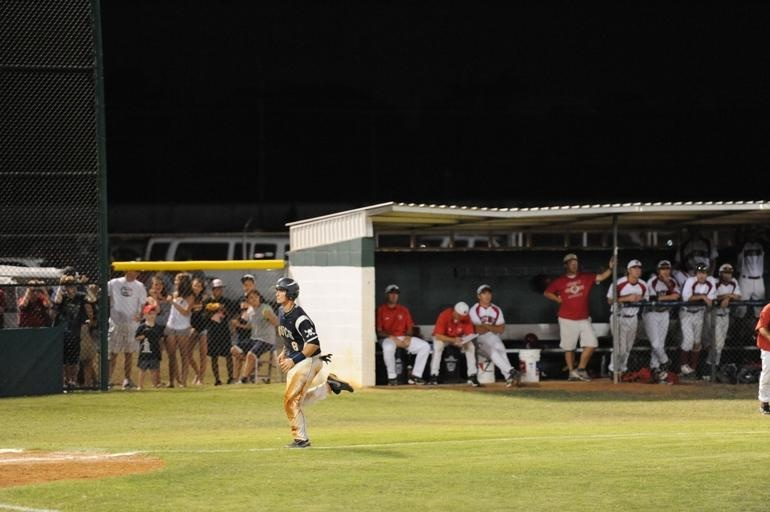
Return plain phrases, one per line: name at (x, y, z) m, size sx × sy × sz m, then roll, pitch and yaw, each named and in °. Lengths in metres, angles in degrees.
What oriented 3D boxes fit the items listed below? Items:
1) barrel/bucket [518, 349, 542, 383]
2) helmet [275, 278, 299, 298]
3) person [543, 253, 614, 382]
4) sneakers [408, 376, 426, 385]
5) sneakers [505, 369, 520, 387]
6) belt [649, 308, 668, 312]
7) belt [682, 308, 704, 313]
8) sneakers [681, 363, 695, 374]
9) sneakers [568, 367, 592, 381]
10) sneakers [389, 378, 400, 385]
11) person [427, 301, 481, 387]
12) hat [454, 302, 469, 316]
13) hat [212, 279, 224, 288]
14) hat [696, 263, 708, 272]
barrel/bucket at (3.268, 2.429, 31.401) m, size 0.463 × 0.747 × 0.391 m, roll -1°, pitch -6°, yaw 4°
helmet at (-1.768, 0.562, 25.072) m, size 0.375 × 0.382 × 0.465 m, roll 0°, pitch -6°, yaw -6°
person at (4.503, 1.364, 31.890) m, size 1.256 × 2.890 × 1.082 m, roll -3°, pitch -7°, yaw 23°
sneakers at (0.711, 2.728, 31.050) m, size 0.353 × 0.185 × 0.270 m, roll -1°, pitch -6°, yaw 1°
sneakers at (2.825, 2.693, 30.882) m, size 0.240 × 0.198 × 0.485 m, roll 34°, pitch -22°, yaw 22°
belt at (6.145, 1.173, 31.359) m, size 0.433 × 0.112 × 0.316 m, roll -1°, pitch -6°, yaw 10°
belt at (6.949, 1.170, 31.425) m, size 0.507 × 0.129 × 0.255 m, roll -1°, pitch -6°, yaw 0°
sneakers at (6.895, 2.538, 31.677) m, size 0.301 × 0.239 × 0.316 m, roll -1°, pitch -6°, yaw 10°
sneakers at (4.361, 2.657, 31.436) m, size 0.545 × 0.195 × 0.222 m, roll 9°, pitch -53°, yaw -18°
sneakers at (0.204, 2.759, 31.018) m, size 0.279 × 0.150 × 0.170 m, roll 2°, pitch -6°, yaw -21°
person at (1.497, 1.946, 30.995) m, size 1.038 × 1.806 × 0.867 m, roll -3°, pitch -7°, yaw 23°
hat at (1.686, 1.140, 30.712) m, size 0.310 × 0.261 × 0.256 m, roll 0°, pitch -6°, yaw -5°
hat at (-3.771, 0.617, 31.392) m, size 0.249 × 0.059 × 0.244 m, roll -4°, pitch 11°, yaw -18°
hat at (7.135, 0.228, 31.363) m, size 0.243 × 0.202 × 0.223 m, roll -1°, pitch -6°, yaw 6°
